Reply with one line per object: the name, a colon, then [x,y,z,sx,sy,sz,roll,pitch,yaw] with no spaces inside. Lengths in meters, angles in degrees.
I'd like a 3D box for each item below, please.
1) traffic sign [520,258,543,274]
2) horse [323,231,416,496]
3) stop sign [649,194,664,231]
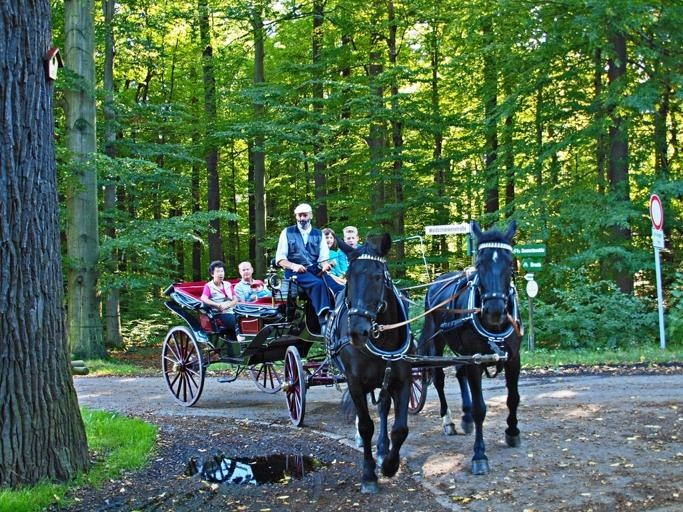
traffic sign: [4.557,0.236,28.487,0.555,0.365,0.076,2,-8,6]
horse: [0.556,1.751,19.604,1.257,4.155,1.257,-2,-3,-3]
stop sign: [7.006,-0.963,26.488,0.252,0.792,0.432,-2,-3,12]
